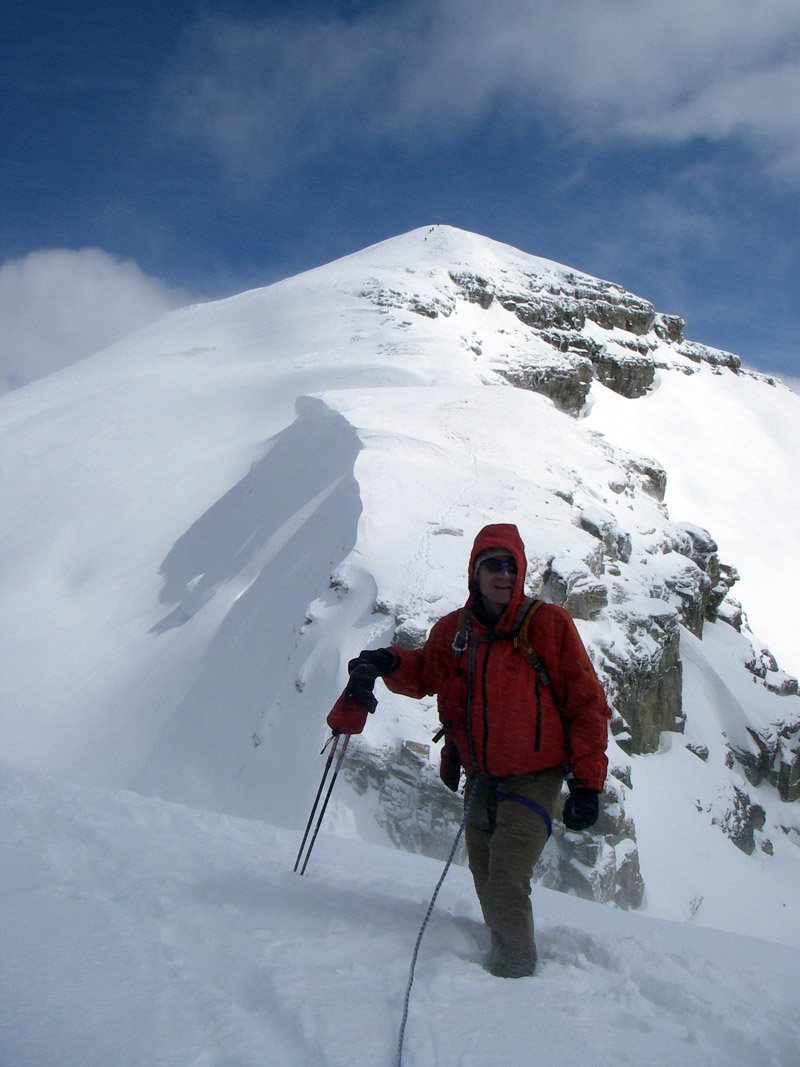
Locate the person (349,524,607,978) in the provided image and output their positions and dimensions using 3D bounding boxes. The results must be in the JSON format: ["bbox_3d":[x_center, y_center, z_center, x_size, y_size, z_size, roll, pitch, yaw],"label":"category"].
[{"bbox_3d":[0.632,0.985,5.123,0.661,2.255,1.276,14,1,-16],"label":"person"}]

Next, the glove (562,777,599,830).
[{"bbox_3d":[0.879,1.305,4.964,0.227,0.229,0.107,-2,-20,24],"label":"glove"}]

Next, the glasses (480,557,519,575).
[{"bbox_3d":[0.524,0.174,5.443,0.117,0.036,0.105,2,-22,11],"label":"glasses"}]
